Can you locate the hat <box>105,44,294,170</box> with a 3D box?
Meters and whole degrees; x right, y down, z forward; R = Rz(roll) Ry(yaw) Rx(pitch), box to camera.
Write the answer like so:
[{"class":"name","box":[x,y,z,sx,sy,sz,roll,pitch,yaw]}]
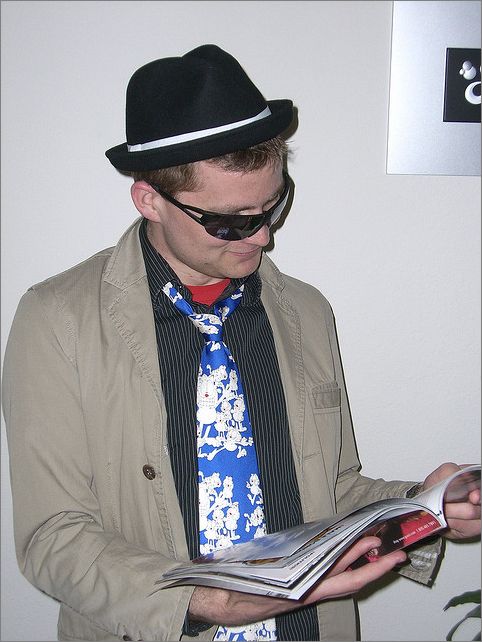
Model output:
[{"class":"hat","box":[-0.082,-0.314,1.090,0.268,0.114,0.221,-9,25,26]}]
